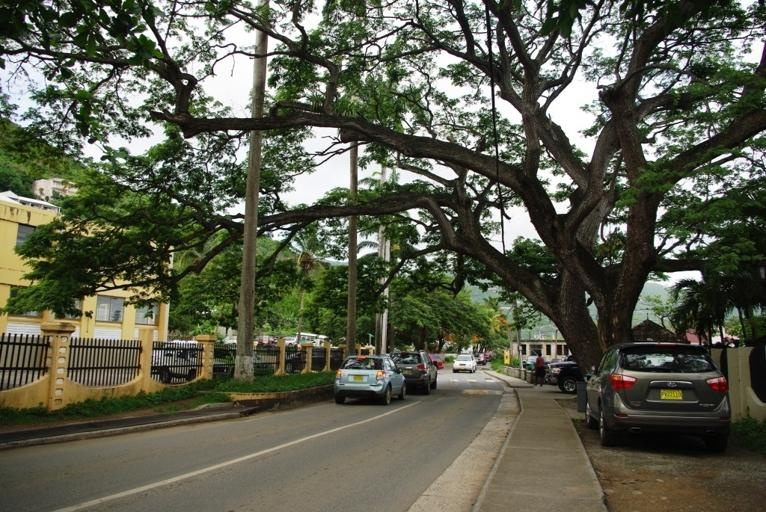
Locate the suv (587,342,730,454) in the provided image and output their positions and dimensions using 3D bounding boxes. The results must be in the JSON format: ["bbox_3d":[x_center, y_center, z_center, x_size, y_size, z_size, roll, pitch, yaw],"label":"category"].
[{"bbox_3d":[6.384,3.193,13.581,2.835,2.356,1.753,-6,-14,27],"label":"suv"}]

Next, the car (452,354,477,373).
[{"bbox_3d":[8.096,10.496,57.398,1.998,1.983,5.209,-1,-14,7],"label":"car"}]

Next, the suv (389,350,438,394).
[{"bbox_3d":[1.944,5.715,29.724,1.297,1.200,3.004,-3,-7,17],"label":"suv"}]

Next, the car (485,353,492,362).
[{"bbox_3d":[20.042,18.790,109.289,1.875,1.017,3.289,-2,-13,8],"label":"car"}]

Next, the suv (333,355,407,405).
[{"bbox_3d":[-0.297,5.054,24.213,1.534,1.266,2.940,-3,-9,16],"label":"suv"}]
